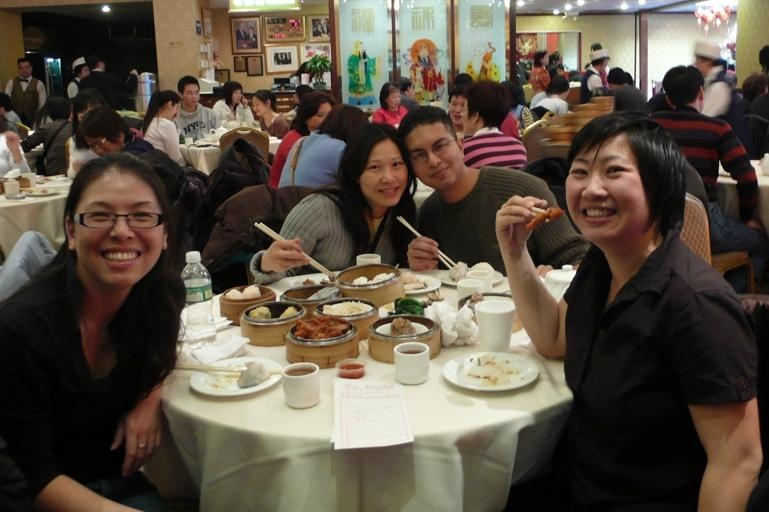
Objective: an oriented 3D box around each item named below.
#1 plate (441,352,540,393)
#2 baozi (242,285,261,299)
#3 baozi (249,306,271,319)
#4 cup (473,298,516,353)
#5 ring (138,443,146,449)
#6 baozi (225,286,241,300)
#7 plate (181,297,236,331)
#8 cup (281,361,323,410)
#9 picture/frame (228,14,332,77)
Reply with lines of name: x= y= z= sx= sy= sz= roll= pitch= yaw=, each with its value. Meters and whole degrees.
plate: x=0.314 y=0.319 z=1.745 sx=0.245 sy=0.086 sz=0.256 roll=-4 pitch=12 yaw=-5
baozi: x=-0.502 y=0.130 z=2.133 sx=0.050 sy=0.048 sz=0.047 roll=13 pitch=25 yaw=35
baozi: x=-0.431 y=0.195 z=1.955 sx=0.045 sy=0.021 sz=0.049 roll=5 pitch=12 yaw=8
cup: x=0.358 y=0.217 z=1.882 sx=0.149 sy=0.159 sz=0.148 roll=0 pitch=15 yaw=0
ring: x=-0.736 y=0.574 z=1.710 sx=0.017 sy=0.009 sz=0.013 roll=3 pitch=1 yaw=24
baozi: x=-0.569 y=0.134 z=2.118 sx=0.045 sy=0.027 sz=0.043 roll=8 pitch=12 yaw=14
plate: x=-0.666 y=0.221 z=2.129 sx=0.198 sy=0.128 sz=0.125 roll=-1 pitch=-9 yaw=11
cup: x=-0.233 y=0.370 z=1.591 sx=0.120 sy=0.113 sz=0.163 roll=-6 pitch=9 yaw=-28
picture/frame: x=-2.508 y=-5.198 z=13.706 sx=3.500 sy=1.779 sz=0.345 roll=-6 pitch=19 yaw=-6
